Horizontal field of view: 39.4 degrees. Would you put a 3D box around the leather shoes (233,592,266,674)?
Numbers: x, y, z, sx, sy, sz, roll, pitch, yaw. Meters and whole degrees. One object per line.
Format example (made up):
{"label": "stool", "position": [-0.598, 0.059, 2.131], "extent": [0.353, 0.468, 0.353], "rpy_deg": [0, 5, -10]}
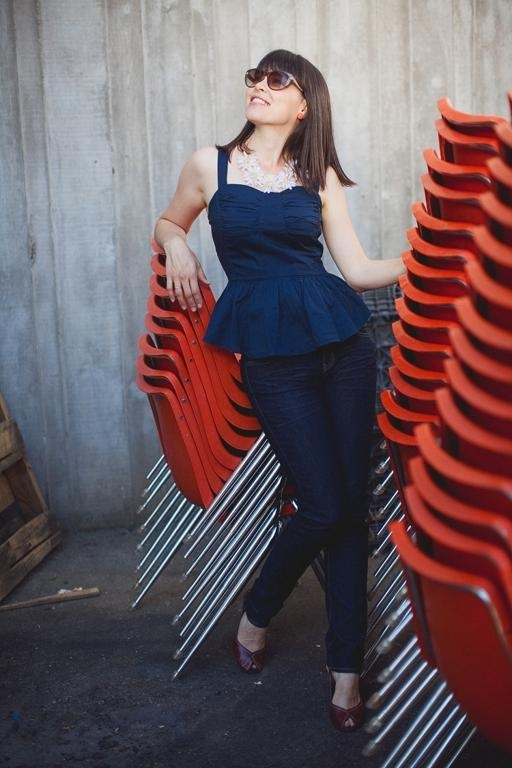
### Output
{"label": "leather shoes", "position": [-0.027, 0.675, 1.858], "extent": [0.059, 0.070, 0.184], "rpy_deg": [5, 7, -6]}
